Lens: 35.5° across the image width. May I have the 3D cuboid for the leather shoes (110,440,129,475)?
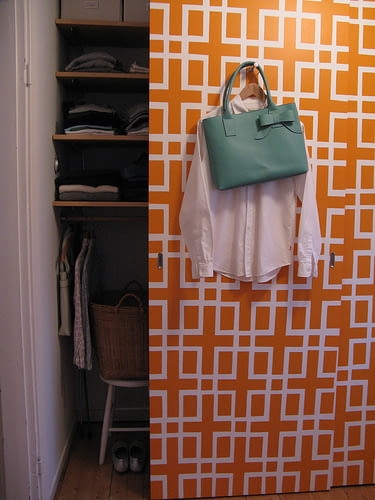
[{"bbox_3d":[-0.302,0.928,2.622,0.077,0.061,0.169,-1,15,-7],"label":"leather shoes"}]

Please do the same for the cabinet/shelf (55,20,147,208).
[{"bbox_3d":[-0.381,-0.617,2.664,0.416,0.774,0.437,-1,12,-5],"label":"cabinet/shelf"}]

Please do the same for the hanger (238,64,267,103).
[{"bbox_3d":[0.251,-0.635,2.248,0.109,0.169,0.016,1,10,3],"label":"hanger"}]

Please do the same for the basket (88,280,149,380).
[{"bbox_3d":[-0.282,0.368,2.752,0.262,0.440,0.375,0,6,0],"label":"basket"}]

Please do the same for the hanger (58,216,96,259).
[{"bbox_3d":[-0.524,-0.062,2.721,0.121,0.216,0.073,1,3,-26],"label":"hanger"}]
